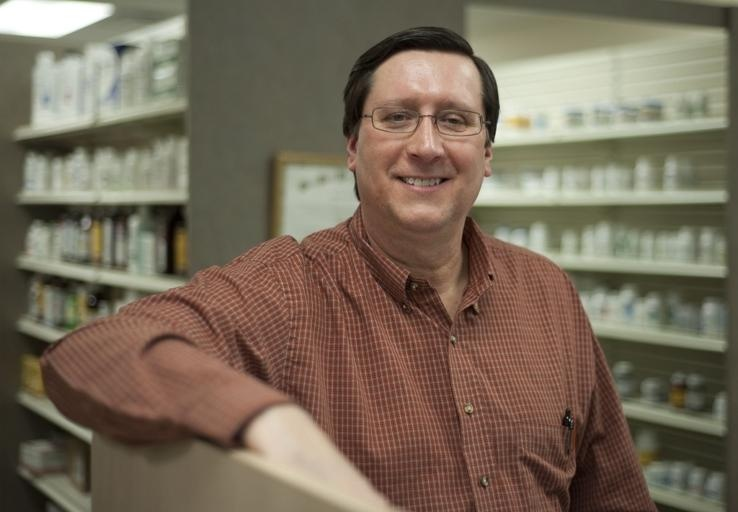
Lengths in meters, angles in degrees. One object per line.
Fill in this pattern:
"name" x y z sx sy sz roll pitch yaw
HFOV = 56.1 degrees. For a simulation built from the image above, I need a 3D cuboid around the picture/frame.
"picture/frame" -0.241 -0.231 2.752 0.447 0.465 0.044 0 -1 -31
